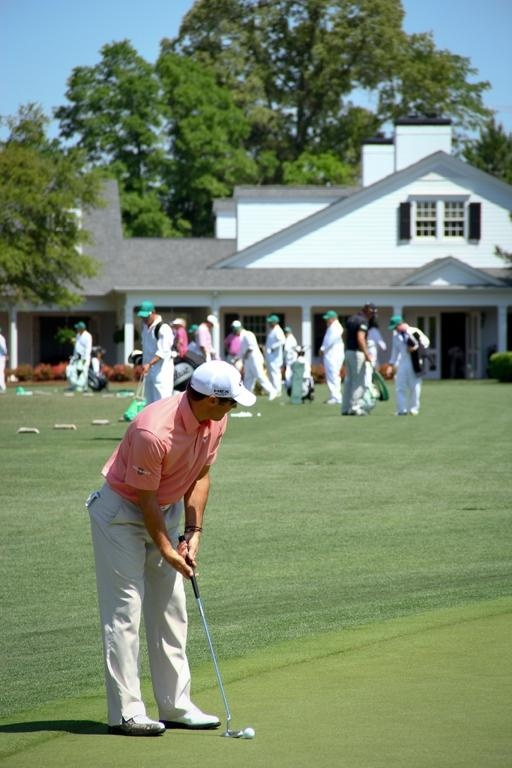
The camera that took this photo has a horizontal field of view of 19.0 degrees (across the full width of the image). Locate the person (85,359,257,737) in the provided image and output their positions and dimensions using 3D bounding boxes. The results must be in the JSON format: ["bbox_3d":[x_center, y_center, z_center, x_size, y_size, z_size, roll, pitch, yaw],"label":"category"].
[{"bbox_3d":[-0.342,0.623,5.903,0.574,1.430,0.591,1,-2,-20],"label":"person"}]

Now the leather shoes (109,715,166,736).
[{"bbox_3d":[-0.446,1.295,5.805,0.203,0.089,0.077,-5,0,14],"label":"leather shoes"}]

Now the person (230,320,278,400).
[{"bbox_3d":[-0.076,-0.428,25.430,0.591,1.292,0.452,-3,11,29],"label":"person"}]

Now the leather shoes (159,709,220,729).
[{"bbox_3d":[-0.253,1.306,5.942,0.232,0.102,0.090,-1,4,4],"label":"leather shoes"}]

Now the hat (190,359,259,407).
[{"bbox_3d":[-0.135,-0.010,5.833,0.202,0.167,0.302,0,-2,14],"label":"hat"}]

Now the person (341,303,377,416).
[{"bbox_3d":[1.372,-0.329,20.438,0.427,1.455,1.210,1,-2,4],"label":"person"}]
